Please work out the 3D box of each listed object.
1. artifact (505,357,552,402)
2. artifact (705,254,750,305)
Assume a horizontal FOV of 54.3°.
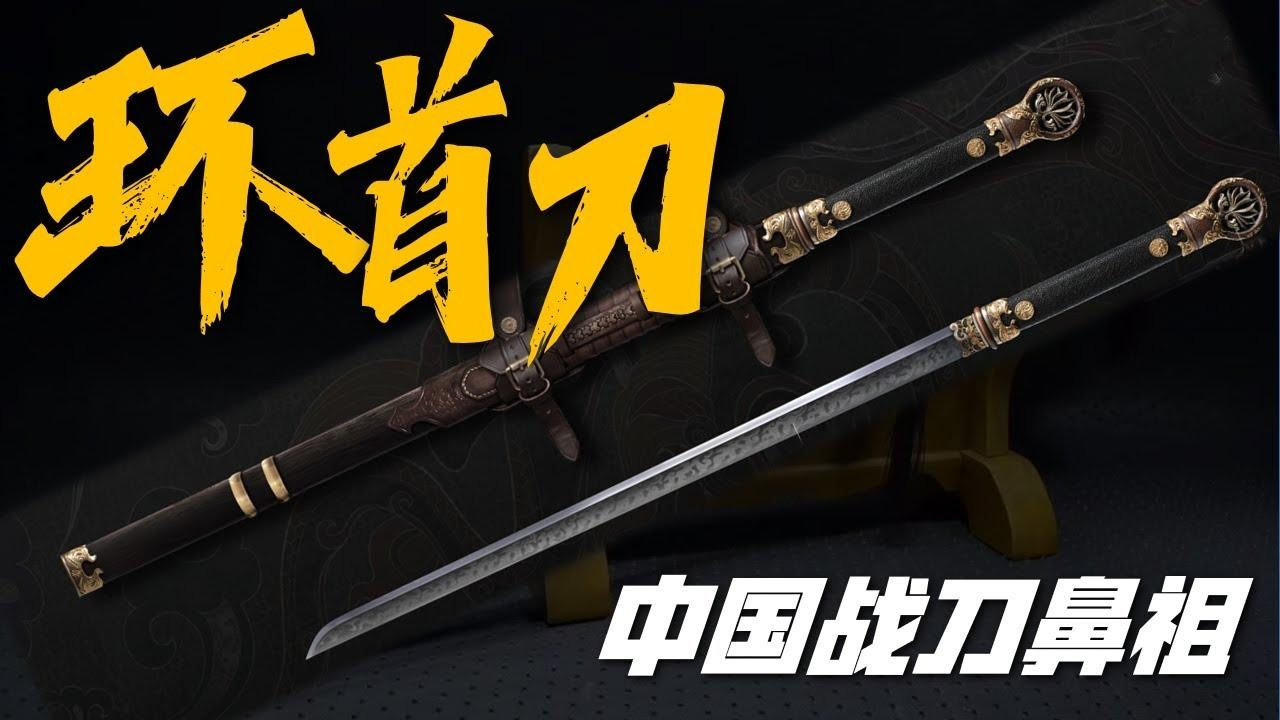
[{"bbox_3d":[-0.499,0.114,5.871,0.156,0.234,0.220,-31,-13,6],"label":"artifact"},{"bbox_3d":[0.403,-0.396,5.849,0.154,0.218,0.225,-25,26,5],"label":"artifact"}]
